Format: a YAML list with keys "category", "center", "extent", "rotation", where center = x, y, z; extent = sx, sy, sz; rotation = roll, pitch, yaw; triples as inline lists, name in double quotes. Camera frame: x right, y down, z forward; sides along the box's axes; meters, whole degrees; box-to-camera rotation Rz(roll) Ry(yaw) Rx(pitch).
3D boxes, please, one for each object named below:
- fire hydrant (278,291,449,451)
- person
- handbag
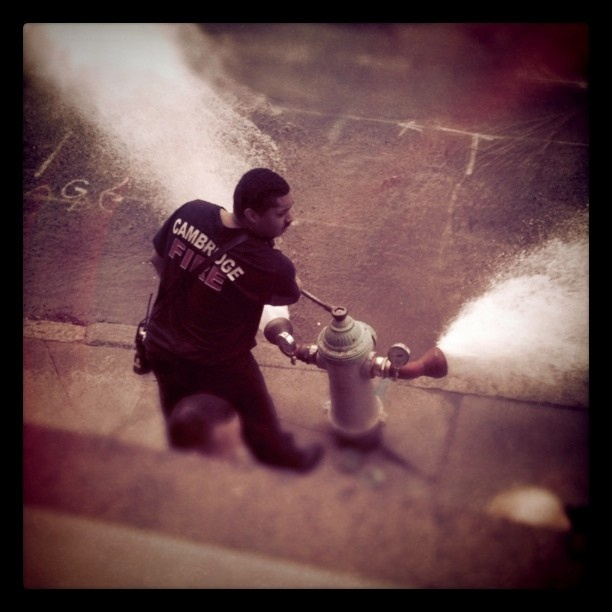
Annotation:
- category: "fire hydrant"
  center: [0.322, 0.459, 4.845]
  extent: [1.055, 0.881, 0.349]
  rotation: [5, 32, 25]
- category: "person"
  center: [-0.419, 0.231, 5.053]
  extent: [1.155, 2.420, 0.883]
  rotation: [5, 36, 3]
- category: "handbag"
  center: [-0.595, 0.122, 4.761]
  extent: [0.224, 0.851, 0.876]
  rotation: [30, 5, -24]
